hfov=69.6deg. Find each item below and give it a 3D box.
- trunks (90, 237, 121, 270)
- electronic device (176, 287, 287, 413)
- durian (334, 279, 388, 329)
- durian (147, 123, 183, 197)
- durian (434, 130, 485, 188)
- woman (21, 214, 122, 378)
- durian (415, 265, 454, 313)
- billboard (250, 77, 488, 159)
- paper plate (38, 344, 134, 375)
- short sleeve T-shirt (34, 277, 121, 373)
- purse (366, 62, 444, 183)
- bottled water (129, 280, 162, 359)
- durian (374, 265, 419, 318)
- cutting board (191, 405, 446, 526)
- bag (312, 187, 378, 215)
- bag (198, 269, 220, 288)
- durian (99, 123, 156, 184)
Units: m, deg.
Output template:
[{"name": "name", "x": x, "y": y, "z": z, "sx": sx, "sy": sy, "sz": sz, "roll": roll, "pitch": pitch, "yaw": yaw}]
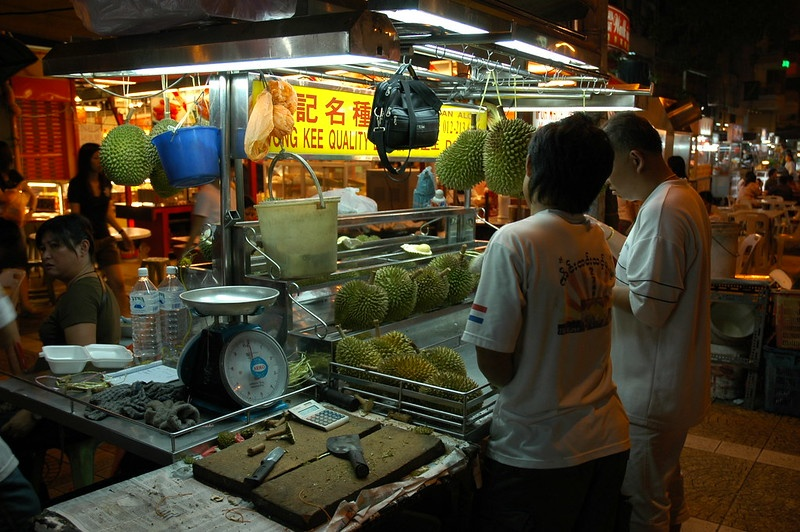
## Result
[{"name": "trunks", "x": -2.909, "y": -0.124, "z": 5.670, "sx": 0.186, "sy": 0.335, "sz": 0.257, "roll": 6, "pitch": 19, "yaw": 23}, {"name": "electronic device", "x": -0.747, "y": 0.362, "z": 2.594, "sx": 0.430, "sy": 0.486, "sz": 0.420, "roll": 3, "pitch": 5, "yaw": 22}, {"name": "durian", "x": -0.198, "y": 0.203, "z": 3.066, "sx": 0.223, "sy": 0.245, "sz": 0.225, "roll": 2, "pitch": -11, "yaw": 12}, {"name": "durian", "x": -1.329, "y": -0.572, "z": 3.187, "sx": 0.224, "sy": 0.424, "sz": 0.188, "roll": 5, "pitch": 10, "yaw": 37}, {"name": "durian", "x": 0.332, "y": -0.573, "z": 3.251, "sx": 0.333, "sy": 0.210, "sz": 0.226, "roll": -17, "pitch": -22, "yaw": 41}, {"name": "woman", "x": -2.113, "y": 0.123, "z": 3.667, "sx": 0.625, "sy": 1.136, "sz": 0.921, "roll": -1, "pitch": 0, "yaw": -18}, {"name": "durian", "x": 0.166, "y": 0.128, "z": 3.290, "sx": 0.250, "sy": 0.222, "sz": 0.189, "roll": -3, "pitch": -12, "yaw": -3}, {"name": "billboard", "x": -0.199, "y": -0.916, "z": 3.760, "sx": 1.638, "sy": 0.378, "sz": 0.233, "roll": -6, "pitch": 14, "yaw": -31}, {"name": "paper plate", "x": -1.599, "y": 0.463, "z": 2.943, "sx": 0.310, "sy": 0.071, "sz": 0.201, "roll": 2, "pitch": 7, "yaw": -24}, {"name": "short sleeve T-shirt", "x": -1.930, "y": 0.333, "z": 3.476, "sx": 0.383, "sy": 0.598, "sz": 0.639, "roll": -3, "pitch": 7, "yaw": -16}, {"name": "purse", "x": 0.016, "y": -0.765, "z": 3.012, "sx": 0.284, "sy": 0.523, "sz": 0.437, "roll": 21, "pitch": 28, "yaw": 39}, {"name": "bottled water", "x": -1.430, "y": 0.323, "z": 3.245, "sx": 0.155, "sy": 0.352, "sz": 0.245, "roll": -6, "pitch": 12, "yaw": -26}, {"name": "durian", "x": -0.004, "y": 0.176, "z": 3.253, "sx": 0.248, "sy": 0.323, "sz": 0.318, "roll": 3, "pitch": -2, "yaw": 22}, {"name": "cutting board", "x": -0.324, "y": 0.788, "z": 2.258, "sx": 0.889, "sy": 0.168, "sz": 0.518, "roll": 2, "pitch": 12, "yaw": 16}, {"name": "bag", "x": -0.386, "y": -0.508, "z": 4.560, "sx": 0.277, "sy": 0.134, "sz": 0.364, "roll": -3, "pitch": 3, "yaw": -36}, {"name": "bag", "x": -1.057, "y": 0.059, "z": 3.186, "sx": 0.119, "sy": 0.083, "sz": 0.118, "roll": 1, "pitch": 0, "yaw": -5}, {"name": "durian", "x": -1.475, "y": -0.609, "z": 3.146, "sx": 0.306, "sy": 0.329, "sz": 0.205, "roll": -4, "pitch": 11, "yaw": -15}]
